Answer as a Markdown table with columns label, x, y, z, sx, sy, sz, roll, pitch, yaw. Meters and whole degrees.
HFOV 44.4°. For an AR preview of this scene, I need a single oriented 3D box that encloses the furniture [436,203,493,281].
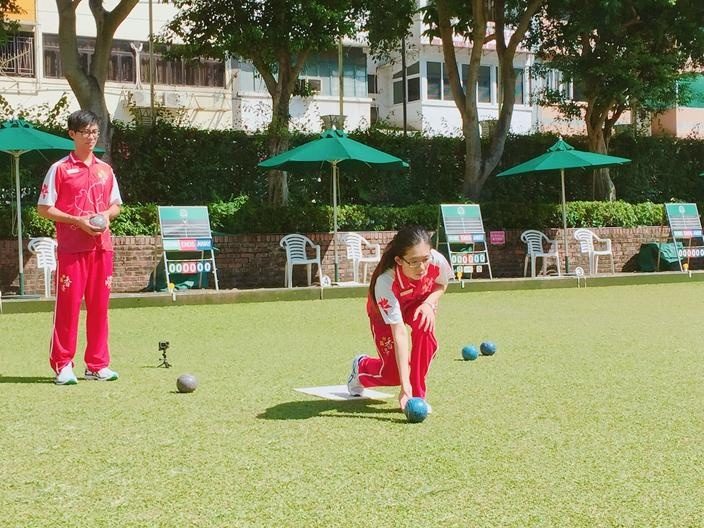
| label | x | y | z | sx | sy | sz | roll | pitch | yaw |
| --- | --- | --- | --- | --- | --- | --- | --- | --- | --- |
| furniture | 2.029 | -0.344 | 15.377 | 0.799 | 1.471 | 0.891 | -1 | -11 | -11 |

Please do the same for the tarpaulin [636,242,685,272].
| label | x | y | z | sx | sy | sz | roll | pitch | yaw |
| --- | --- | --- | --- | --- | --- | --- | --- | --- | --- |
| tarpaulin | 6.323 | -0.105 | 17.715 | 0.623 | 0.562 | 0.574 | 2 | -6 | -25 |

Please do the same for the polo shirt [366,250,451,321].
| label | x | y | z | sx | sy | sz | roll | pitch | yaw |
| --- | --- | --- | --- | --- | --- | --- | --- | --- | --- |
| polo shirt | 0.427 | 0.178 | 6.204 | 0.336 | 0.498 | 0.555 | 1 | 2 | 42 |

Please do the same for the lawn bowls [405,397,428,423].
| label | x | y | z | sx | sy | sz | roll | pitch | yaw |
| --- | --- | --- | --- | --- | --- | --- | --- | --- | --- |
| lawn bowls | 0.431 | 0.974 | 5.777 | 0.142 | 0.164 | 0.145 | 1 | -7 | 0 |

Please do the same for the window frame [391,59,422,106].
| label | x | y | z | sx | sy | sz | roll | pitch | yaw |
| --- | --- | --- | --- | --- | --- | --- | --- | --- | --- |
| window frame | 2.496 | -8.219 | 39.573 | 1.644 | 1.795 | 0.091 | -15 | 20 | -32 |

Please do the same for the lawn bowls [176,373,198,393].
| label | x | y | z | sx | sy | sz | roll | pitch | yaw |
| --- | --- | --- | --- | --- | --- | --- | --- | --- | --- |
| lawn bowls | -1.258 | 0.904 | 6.552 | 0.155 | 0.129 | 0.202 | -1 | 2 | -13 |

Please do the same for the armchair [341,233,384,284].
| label | x | y | z | sx | sy | sz | roll | pitch | yaw |
| --- | --- | --- | --- | --- | --- | --- | --- | --- | --- |
| armchair | 0.204 | -0.107 | 15.463 | 0.713 | 1.169 | 0.814 | -1 | 1 | -36 |

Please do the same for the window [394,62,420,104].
| label | x | y | z | sx | sy | sz | roll | pitch | yaw |
| --- | --- | --- | --- | --- | --- | --- | --- | --- | --- |
| window | 2.485 | -8.204 | 39.606 | 1.861 | 1.986 | 0.076 | -16 | 20 | -35 |

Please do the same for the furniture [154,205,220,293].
| label | x | y | z | sx | sy | sz | roll | pitch | yaw |
| --- | --- | --- | --- | --- | --- | --- | --- | --- | --- |
| furniture | -2.596 | -0.172 | 13.360 | 0.772 | 1.422 | 0.694 | -2 | -9 | -26 |

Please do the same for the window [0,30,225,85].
| label | x | y | z | sx | sy | sz | roll | pitch | yaw |
| --- | --- | --- | --- | --- | --- | --- | --- | --- | --- |
| window | -8.499 | -7.140 | 30.815 | 7.748 | 1.597 | 1.049 | -2 | 2 | -35 |

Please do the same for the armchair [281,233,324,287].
| label | x | y | z | sx | sy | sz | roll | pitch | yaw |
| --- | --- | --- | --- | --- | --- | --- | --- | --- | --- |
| armchair | -0.935 | -0.128 | 14.866 | 0.746 | 1.010 | 0.779 | -10 | -16 | 22 |

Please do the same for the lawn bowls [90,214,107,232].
| label | x | y | z | sx | sy | sz | roll | pitch | yaw |
| --- | --- | --- | --- | --- | --- | --- | --- | --- | --- |
| lawn bowls | -2.037 | -0.319 | 6.930 | 0.066 | 0.133 | 0.153 | 1 | 2 | 43 |

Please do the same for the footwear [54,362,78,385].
| label | x | y | z | sx | sy | sz | roll | pitch | yaw |
| --- | --- | --- | --- | --- | --- | --- | --- | --- | --- |
| footwear | -2.310 | 0.877 | 6.957 | 0.180 | 0.160 | 0.244 | -1 | 2 | -20 |

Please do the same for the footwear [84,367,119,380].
| label | x | y | z | sx | sy | sz | roll | pitch | yaw |
| --- | --- | --- | --- | --- | --- | --- | --- | --- | --- |
| footwear | -2.050 | 0.897 | 7.043 | 0.262 | 0.112 | 0.108 | -3 | 4 | 21 |

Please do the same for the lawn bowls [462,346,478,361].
| label | x | y | z | sx | sy | sz | roll | pitch | yaw |
| --- | --- | --- | --- | --- | --- | --- | --- | --- | --- |
| lawn bowls | 1.053 | 0.797 | 7.719 | 0.112 | 0.127 | 0.118 | 2 | 29 | -1 |

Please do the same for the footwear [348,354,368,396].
| label | x | y | z | sx | sy | sz | roll | pitch | yaw |
| --- | --- | --- | --- | --- | --- | --- | --- | --- | --- |
| footwear | 0.044 | 0.844 | 6.508 | 0.098 | 0.334 | 0.134 | 1 | 14 | -2 |

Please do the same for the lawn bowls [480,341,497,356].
| label | x | y | z | sx | sy | sz | roll | pitch | yaw |
| --- | --- | --- | --- | --- | --- | --- | --- | --- | --- |
| lawn bowls | 1.248 | 0.770 | 7.944 | 0.110 | 0.147 | 0.119 | 5 | 8 | -1 |

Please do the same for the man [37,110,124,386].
| label | x | y | z | sx | sy | sz | roll | pitch | yaw |
| --- | --- | --- | --- | --- | --- | --- | --- | --- | --- |
| man | -2.214 | -0.144 | 7.024 | 0.636 | 2.194 | 0.430 | -1 | 2 | -17 |
